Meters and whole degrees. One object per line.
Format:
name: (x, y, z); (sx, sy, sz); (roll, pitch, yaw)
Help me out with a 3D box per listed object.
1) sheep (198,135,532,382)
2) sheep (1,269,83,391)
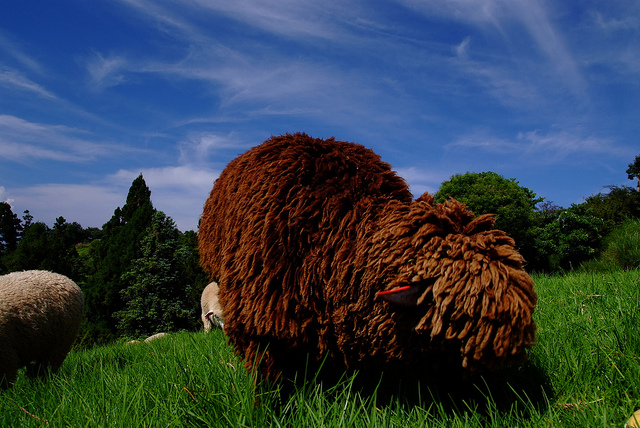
sheep: (0.287, 0.367, 3.610); (2.613, 1.922, 0.950); (3, 12, 26)
sheep: (-3.676, 1.506, 5.681); (0.476, 1.358, 1.112); (4, 12, 28)
